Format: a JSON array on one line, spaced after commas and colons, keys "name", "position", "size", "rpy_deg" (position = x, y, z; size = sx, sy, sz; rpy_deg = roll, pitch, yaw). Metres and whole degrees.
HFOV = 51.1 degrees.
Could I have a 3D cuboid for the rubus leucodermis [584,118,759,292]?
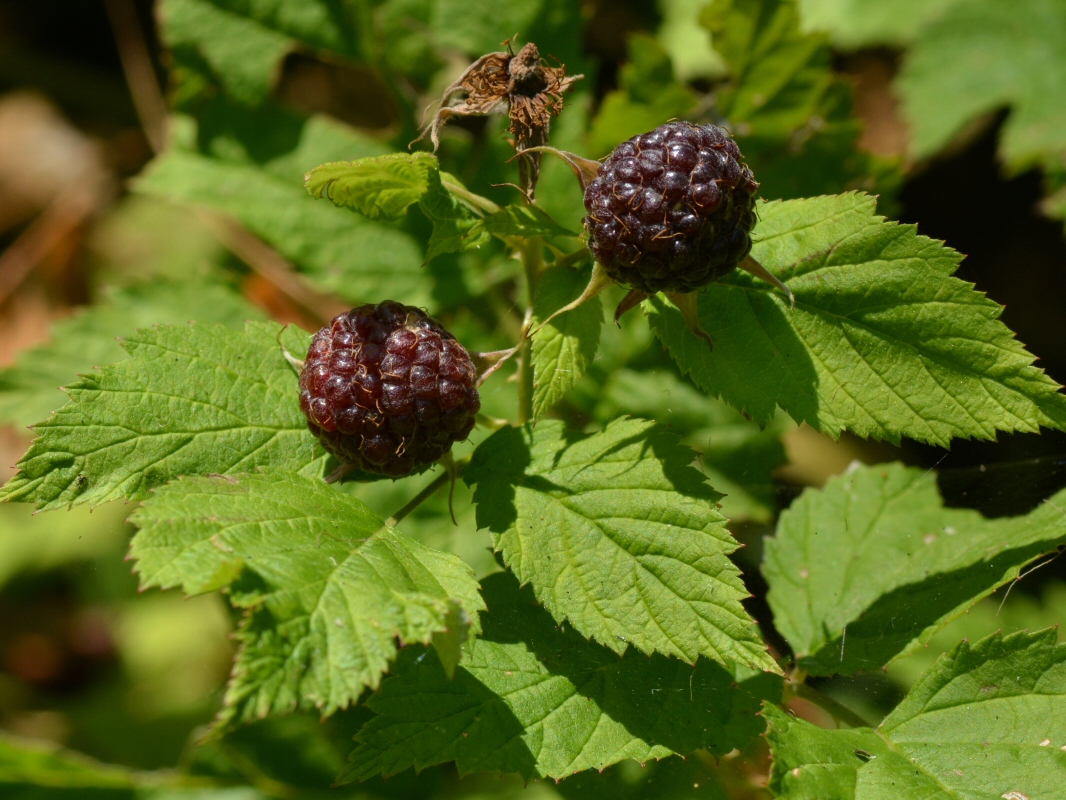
[{"name": "rubus leucodermis", "position": [0.446, -0.687, 3.848], "size": [0.697, 0.477, 0.603], "rpy_deg": [11, 33, 22]}]
